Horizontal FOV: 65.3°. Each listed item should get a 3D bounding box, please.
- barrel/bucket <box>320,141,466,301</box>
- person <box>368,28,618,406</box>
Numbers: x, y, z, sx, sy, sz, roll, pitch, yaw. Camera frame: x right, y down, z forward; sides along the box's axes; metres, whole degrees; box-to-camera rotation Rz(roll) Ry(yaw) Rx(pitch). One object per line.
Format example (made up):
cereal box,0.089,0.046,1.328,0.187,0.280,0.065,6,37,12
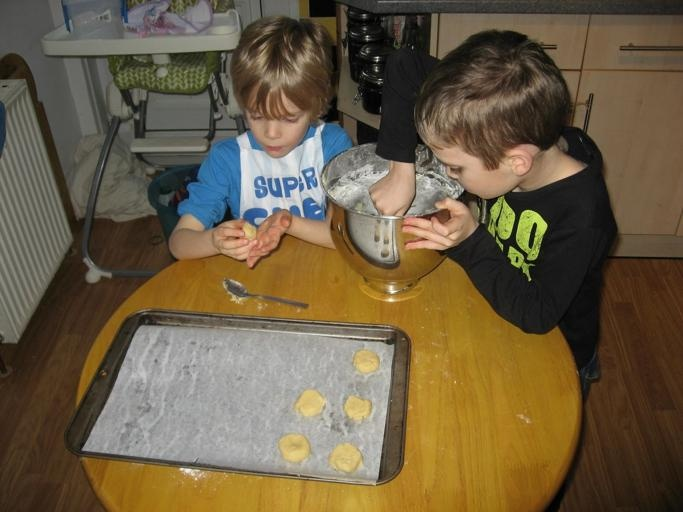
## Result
barrel/bucket,0.124,-0.134,1.331,0.332,0.312,0.400,-3,42,4
person,0.449,0.044,1.557,0.606,1.255,0.577,-5,43,7
